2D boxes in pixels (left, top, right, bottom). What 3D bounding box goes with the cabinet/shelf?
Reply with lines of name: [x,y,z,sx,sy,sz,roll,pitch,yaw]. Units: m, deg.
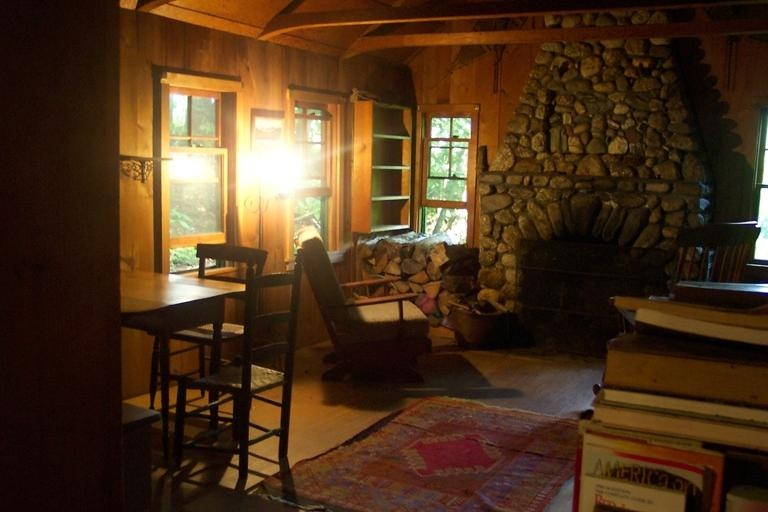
cabinet/shelf: [-0.006,-0.993,7.186,0.427,1.457,1.177,3,8,17]

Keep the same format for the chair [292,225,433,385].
chair: [-0.156,0.443,5.418,1.136,1.102,0.855,-3,7,-11]
